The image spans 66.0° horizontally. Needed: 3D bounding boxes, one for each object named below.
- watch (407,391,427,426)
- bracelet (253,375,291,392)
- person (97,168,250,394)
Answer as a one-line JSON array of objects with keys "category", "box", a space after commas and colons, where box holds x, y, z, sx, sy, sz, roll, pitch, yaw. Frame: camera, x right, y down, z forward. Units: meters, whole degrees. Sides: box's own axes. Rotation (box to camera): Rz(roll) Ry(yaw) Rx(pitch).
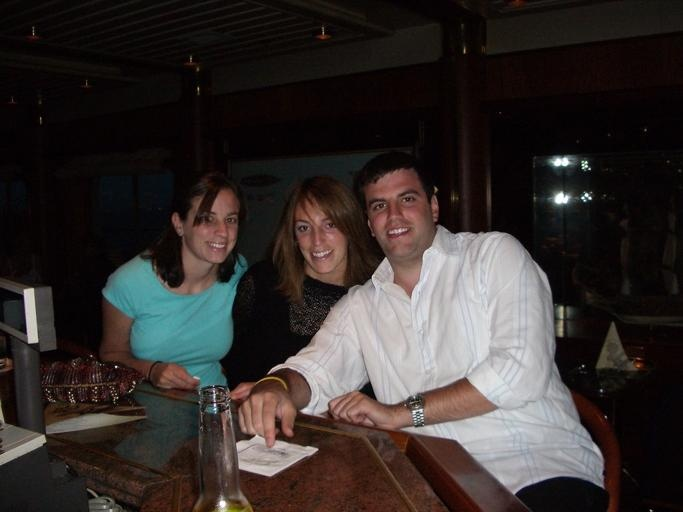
[{"category": "watch", "box": [0.277, 0.580, 1.974, 0.072, 0.109, 0.064, -1, 2, -1]}, {"category": "bracelet", "box": [-0.249, 0.491, 2.028, 0.135, 0.044, 0.167, 0, 2, 16]}, {"category": "person", "box": [-0.842, 0.203, 2.984, 0.874, 1.361, 0.715, -4, 17, -44]}]
